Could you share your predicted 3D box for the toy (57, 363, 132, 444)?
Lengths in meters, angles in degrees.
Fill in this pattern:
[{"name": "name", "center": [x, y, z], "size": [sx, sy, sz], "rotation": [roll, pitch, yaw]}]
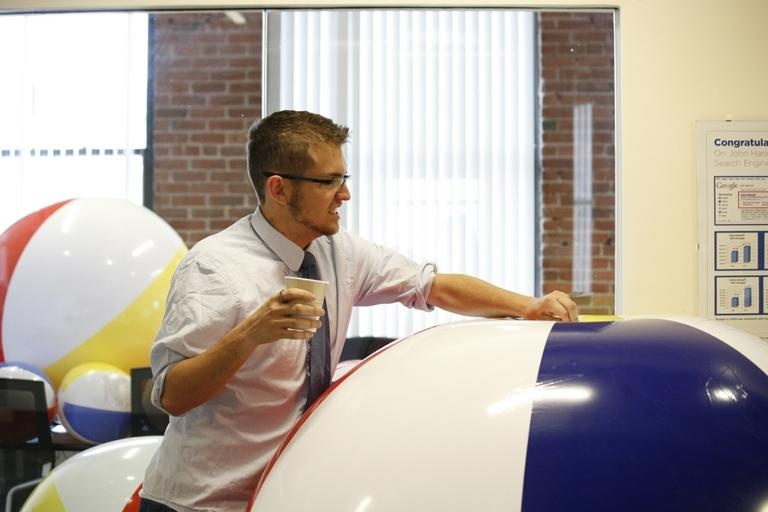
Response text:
[{"name": "toy", "center": [-1.477, 0.745, 5.510], "size": [0.410, 0.482, 0.398], "rotation": [1, 6, 8]}]
